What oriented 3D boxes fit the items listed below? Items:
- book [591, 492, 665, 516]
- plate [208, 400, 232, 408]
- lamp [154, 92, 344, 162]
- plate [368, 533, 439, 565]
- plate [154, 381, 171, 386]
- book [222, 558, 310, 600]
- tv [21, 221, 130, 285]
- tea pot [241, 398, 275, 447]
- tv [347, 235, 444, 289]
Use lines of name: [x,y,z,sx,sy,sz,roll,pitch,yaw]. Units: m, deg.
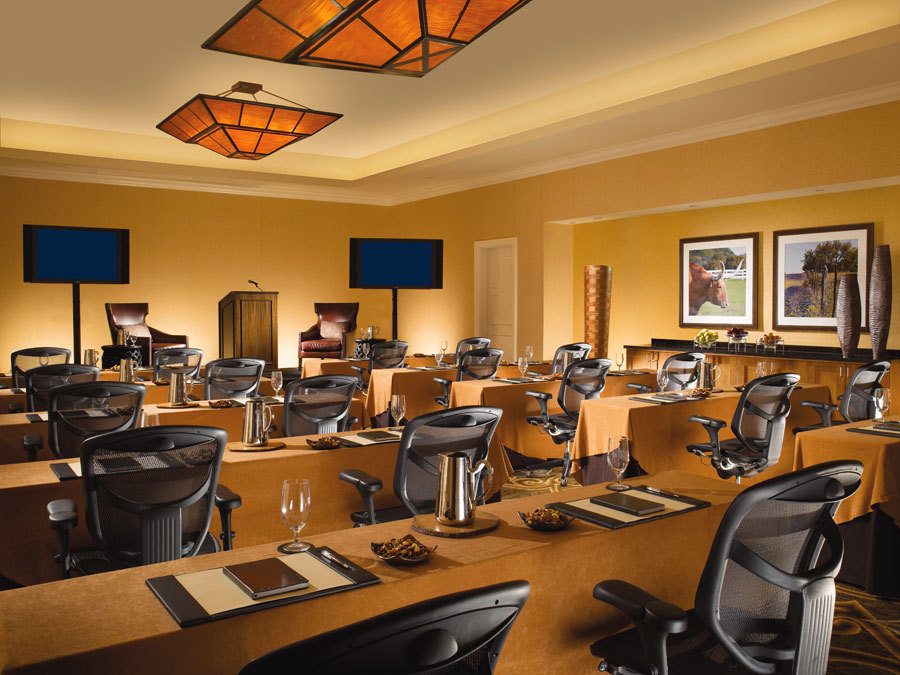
book: [0.651,0.613,2.285,0.177,0.018,0.212,0,1,-28]
plate: [-1.578,0.455,4.322,0.104,0.040,0.075,4,-4,-44]
lamp: [-2.368,-2.436,7.164,1.411,0.372,1.890,-1,4,-35]
plate: [-0.155,0.628,1.837,0.108,0.028,0.094,2,-1,27]
plate: [-2.525,0.404,5.456,0.062,0.025,0.079,1,0,16]
book: [-0.484,0.633,1.670,0.115,0.099,0.086,11,2,44]
tv: [-4.303,-0.949,7.178,0.163,0.616,1.203,6,8,26]
tea pot: [-0.984,0.460,3.286,0.147,0.223,0.254,-1,0,-38]
tv: [-0.827,-1.142,9.624,1.482,0.679,0.133,0,2,-10]
